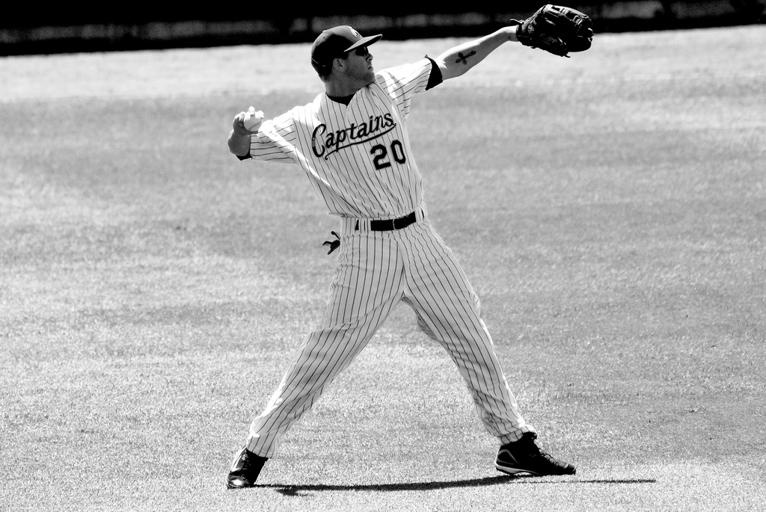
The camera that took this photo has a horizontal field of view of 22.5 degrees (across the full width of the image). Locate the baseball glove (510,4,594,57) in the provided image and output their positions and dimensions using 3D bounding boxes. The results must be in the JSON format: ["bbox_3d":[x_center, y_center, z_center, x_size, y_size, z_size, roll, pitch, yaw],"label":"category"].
[{"bbox_3d":[1.406,-1.834,15.922,0.591,0.223,0.415,16,3,3],"label":"baseball glove"}]

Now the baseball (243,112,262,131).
[{"bbox_3d":[-1.056,-1.081,15.669,0.169,0.147,0.129,11,30,0],"label":"baseball"}]

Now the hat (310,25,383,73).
[{"bbox_3d":[-0.317,-1.702,15.685,0.524,0.237,0.347,-25,7,1],"label":"hat"}]
